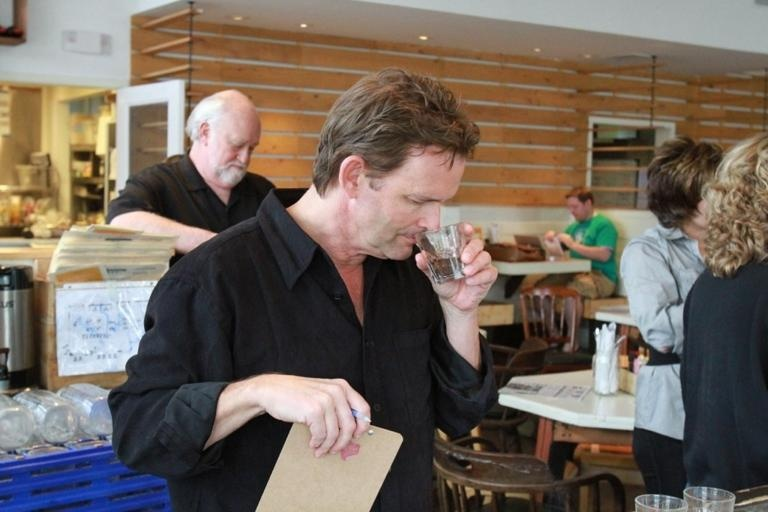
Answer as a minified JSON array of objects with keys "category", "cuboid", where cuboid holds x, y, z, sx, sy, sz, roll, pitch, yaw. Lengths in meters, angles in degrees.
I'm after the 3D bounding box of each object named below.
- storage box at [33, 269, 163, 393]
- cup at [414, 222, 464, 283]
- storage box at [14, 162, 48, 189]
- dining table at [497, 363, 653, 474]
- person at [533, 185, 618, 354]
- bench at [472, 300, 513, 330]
[{"category":"storage box","cuboid":[-1.168,0.293,2.844,0.618,0.388,0.362,0,-2,-5]},{"category":"cup","cuboid":[0.168,-0.001,2.026,0.145,0.148,0.137,-15,11,3]},{"category":"storage box","cuboid":[-4.540,-1.012,8.904,0.340,0.252,0.345,1,-6,-17]},{"category":"dining table","cuboid":[0.956,0.768,3.561,0.573,0.599,0.577,1,4,5]},{"category":"person","cuboid":[2.067,0.107,7.453,1.036,1.664,0.822,-11,7,-33]},{"category":"bench","cuboid":[1.096,0.580,6.709,0.273,0.167,0.371,0,0,4]}]
